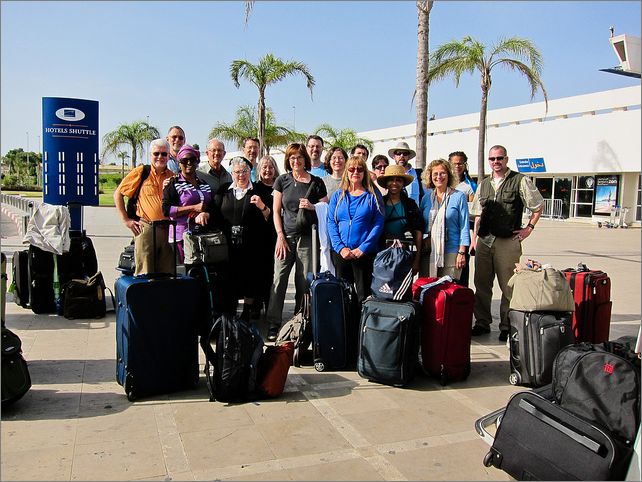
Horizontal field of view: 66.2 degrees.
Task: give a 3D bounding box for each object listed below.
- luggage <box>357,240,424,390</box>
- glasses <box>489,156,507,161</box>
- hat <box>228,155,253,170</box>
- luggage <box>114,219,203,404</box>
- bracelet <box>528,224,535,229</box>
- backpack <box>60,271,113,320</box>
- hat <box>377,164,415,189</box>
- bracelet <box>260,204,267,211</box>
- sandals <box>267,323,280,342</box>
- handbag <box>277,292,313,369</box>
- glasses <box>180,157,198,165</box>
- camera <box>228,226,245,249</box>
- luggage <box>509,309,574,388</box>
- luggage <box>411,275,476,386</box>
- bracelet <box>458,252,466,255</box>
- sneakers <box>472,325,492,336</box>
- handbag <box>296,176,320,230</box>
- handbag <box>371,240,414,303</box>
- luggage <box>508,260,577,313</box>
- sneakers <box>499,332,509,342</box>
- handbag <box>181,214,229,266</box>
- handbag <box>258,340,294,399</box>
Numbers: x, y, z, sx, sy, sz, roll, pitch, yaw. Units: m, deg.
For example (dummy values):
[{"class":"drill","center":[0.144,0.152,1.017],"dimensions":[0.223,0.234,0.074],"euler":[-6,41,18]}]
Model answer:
[{"class":"luggage","center":[0.741,0.822,5.295],"dimensions":[0.649,1.404,0.542],"euler":[4,10,13]},{"class":"glasses","center":[2.423,-1.139,6.732],"dimensions":[0.223,0.081,0.166],"euler":[5,10,15]},{"class":"hat","center":[-1.083,-1.065,6.634],"dimensions":[0.271,0.172,0.294],"euler":[0,10,-15]},{"class":"luggage","center":[-1.759,0.615,5.148],"dimensions":[0.789,1.663,1.118],"euler":[-3,11,-25]},{"class":"bracelet","center":[2.852,-0.213,6.684],"dimensions":[0.056,0.038,0.069],"euler":[15,-1,23]},{"class":"backpack","center":[-3.441,0.770,7.223],"dimensions":[0.564,0.682,0.465],"euler":[0,10,-9]},{"class":"hat","center":[0.984,-0.886,6.658],"dimensions":[0.450,0.190,0.535],"euler":[0,-18,1]},{"class":"bracelet","center":[-0.786,-0.465,6.662],"dimensions":[0.081,0.050,0.109],"euler":[0,-1,-16]},{"class":"sandals","center":[-0.628,1.209,6.463],"dimensions":[0.111,0.209,0.067],"euler":[0,-10,0]},{"class":"handbag","center":[-0.146,1.064,5.857],"dimensions":[0.493,0.771,0.688],"euler":[2,-5,4]},{"class":"glasses","center":[-1.680,-1.031,6.213],"dimensions":[0.192,0.114,0.117],"euler":[-1,10,-19]},{"class":"camera","center":[-1.132,-0.064,6.653],"dimensions":[0.096,0.330,0.130],"euler":[2,17,4]},{"class":"luggage","center":[2.399,1.092,5.380],"dimensions":[0.621,0.964,0.547],"euler":[-8,4,-11]},{"class":"luggage","center":[1.297,0.988,5.300],"dimensions":[0.505,1.051,1.020],"euler":[-1,5,-11]},{"class":"bracelet","center":[1.885,0.148,6.575],"dimensions":[0.082,0.045,0.065],"euler":[5,10,14]},{"class":"sneakers","center":[2.316,1.288,7.089],"dimensions":[0.284,0.123,0.113],"euler":[4,-4,-30]},{"class":"handbag","center":[-0.185,-0.487,6.575],"dimensions":[0.306,0.582,0.138],"euler":[8,3,-32]},{"class":"handbag","center":[0.795,0.322,5.448],"dimensions":[0.357,0.651,0.448],"euler":[-1,4,-38]},{"class":"luggage","center":[2.453,0.505,5.401],"dimensions":[0.612,0.642,0.389],"euler":[6,-19,-4]},{"class":"sneakers","center":[2.525,1.309,6.793],"dimensions":[0.103,0.220,0.149],"euler":[-1,-7,31]},{"class":"handbag","center":[-1.426,-0.004,6.040],"dimensions":[0.323,0.622,0.541],"euler":[-2,4,39]},{"class":"handbag","center":[-0.452,1.304,4.979],"dimensions":[0.264,0.463,0.425],"euler":[3,10,4]}]
